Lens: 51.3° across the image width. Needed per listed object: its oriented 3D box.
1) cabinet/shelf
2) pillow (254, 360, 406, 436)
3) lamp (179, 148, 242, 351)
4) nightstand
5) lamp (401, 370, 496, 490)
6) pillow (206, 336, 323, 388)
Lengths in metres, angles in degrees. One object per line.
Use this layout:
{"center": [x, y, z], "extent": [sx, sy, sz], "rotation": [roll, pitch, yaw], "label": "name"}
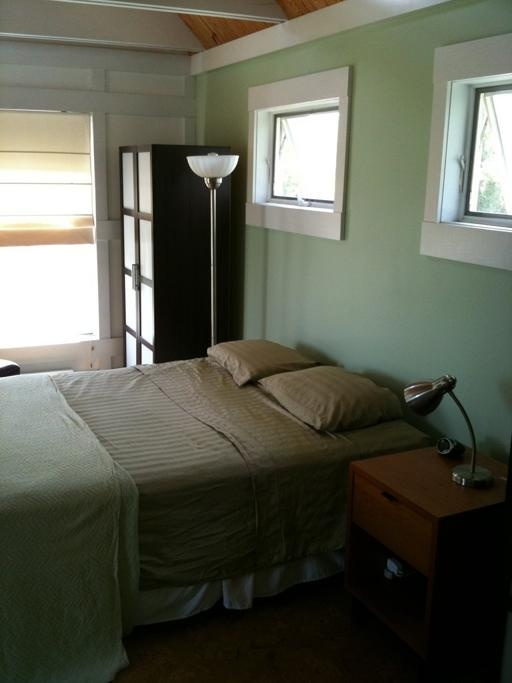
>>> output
{"center": [-0.638, -0.490, 3.897], "extent": [0.524, 1.784, 0.691], "rotation": [-8, 18, -36], "label": "cabinet/shelf"}
{"center": [0.342, 0.238, 2.209], "extent": [0.270, 0.102, 0.348], "rotation": [-9, 17, -22], "label": "pillow"}
{"center": [-0.277, -0.563, 3.271], "extent": [0.267, 1.278, 0.791], "rotation": [0, 8, -7], "label": "lamp"}
{"center": [0.538, 0.663, 1.638], "extent": [0.383, 0.531, 0.445], "rotation": [-3, 9, -24], "label": "nightstand"}
{"center": [0.572, 0.255, 1.575], "extent": [0.232, 0.315, 0.127], "rotation": [1, 15, 31], "label": "lamp"}
{"center": [0.013, 0.092, 2.900], "extent": [0.467, 0.122, 0.354], "rotation": [-4, 31, -41], "label": "pillow"}
